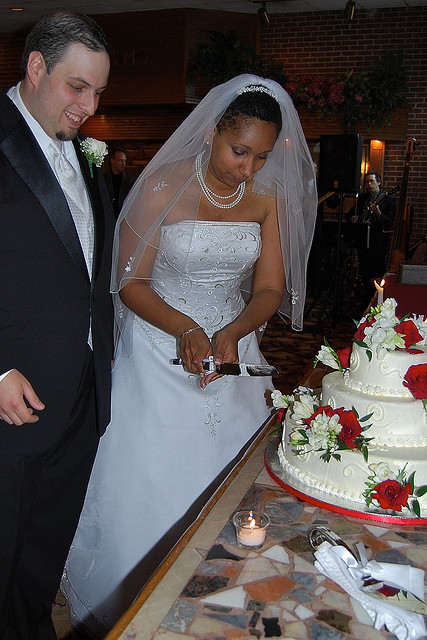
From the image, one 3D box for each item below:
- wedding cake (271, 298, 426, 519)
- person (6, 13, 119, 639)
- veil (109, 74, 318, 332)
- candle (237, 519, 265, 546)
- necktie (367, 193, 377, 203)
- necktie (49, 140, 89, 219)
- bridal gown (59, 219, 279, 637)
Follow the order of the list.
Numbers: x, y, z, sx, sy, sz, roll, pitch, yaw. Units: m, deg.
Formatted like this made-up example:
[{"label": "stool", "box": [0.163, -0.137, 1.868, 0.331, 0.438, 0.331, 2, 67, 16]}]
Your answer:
[{"label": "wedding cake", "box": [0.374, 0.195, 1.277, 0.345, 0.500, 0.457, -2, 5, -35]}, {"label": "person", "box": [-0.459, 0.110, 1.406, 0.316, 1.863, 0.488, 0, 4, -13]}, {"label": "veil", "box": [-0.011, -0.528, 2.015, 0.844, 0.877, 0.531, -13, 42, -33]}, {"label": "candle", "box": [0.080, 0.449, 1.016, 0.056, 0.050, 0.054, 1, 1, 2]}, {"label": "necktie", "box": [2.632, -2.032, 7.942, 0.132, 0.116, 0.032, -9, -5, 38]}, {"label": "necktie", "box": [-0.438, -0.429, 1.455, 0.071, 0.249, 0.037, 0, -30, -39]}, {"label": "bridal gown", "box": [-0.142, 0.358, 1.833, 0.847, 1.495, 0.475, 0, 4, -18]}]
